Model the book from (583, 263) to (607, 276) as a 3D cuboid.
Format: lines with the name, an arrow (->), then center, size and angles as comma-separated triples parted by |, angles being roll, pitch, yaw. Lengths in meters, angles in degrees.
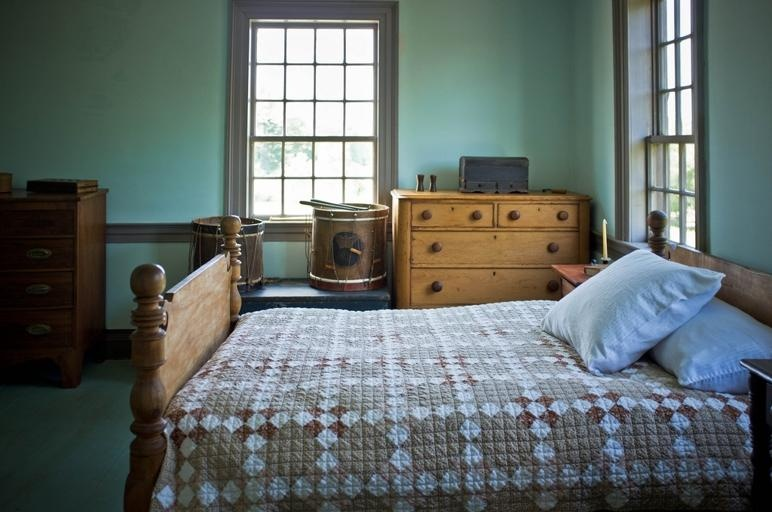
book -> 1.480, 0.088, 3.967 | 0.141, 0.059, 0.159 | 4, 9, 36

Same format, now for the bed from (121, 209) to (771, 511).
bed -> -0.183, 0.419, 2.880 | 1.802, 0.996, 1.860 | 1, 8, -7

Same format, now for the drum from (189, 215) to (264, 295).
drum -> -1.490, -0.105, 5.164 | 0.719, 0.734, 0.741 | 1, 7, -4

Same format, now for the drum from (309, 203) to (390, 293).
drum -> -0.345, -0.104, 5.214 | 0.688, 0.721, 0.720 | 2, 4, -6
